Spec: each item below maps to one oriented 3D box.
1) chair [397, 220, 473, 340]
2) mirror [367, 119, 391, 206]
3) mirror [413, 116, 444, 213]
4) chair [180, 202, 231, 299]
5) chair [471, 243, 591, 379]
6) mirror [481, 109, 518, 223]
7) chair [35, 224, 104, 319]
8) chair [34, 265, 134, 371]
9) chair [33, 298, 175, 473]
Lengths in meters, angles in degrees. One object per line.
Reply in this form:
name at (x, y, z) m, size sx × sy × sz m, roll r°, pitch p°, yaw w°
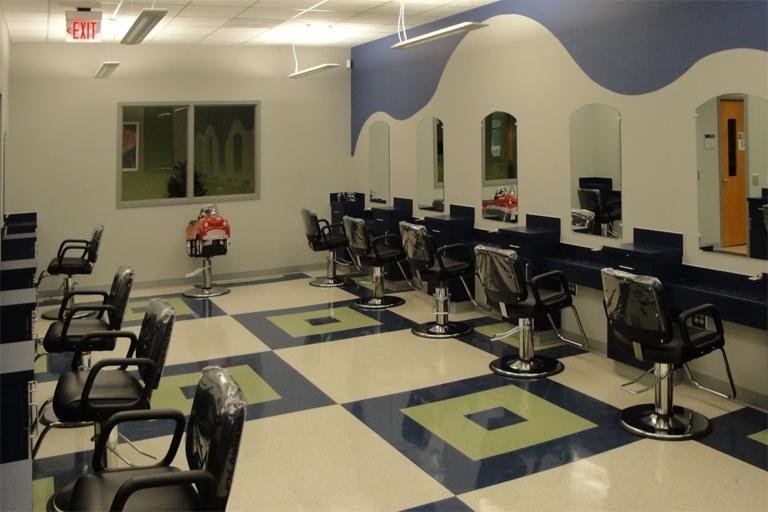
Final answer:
chair at (0.649, 0.276, 6.911) m, size 0.864 × 1.330 × 0.685 m, roll -1°, pitch 14°, yaw 2°
mirror at (-0.067, -1.585, 9.561) m, size 0.201 × 1.346 × 0.821 m, roll -7°, pitch 15°, yaw -21°
mirror at (0.699, -1.364, 8.423) m, size 0.218 × 1.356 × 0.727 m, roll -8°, pitch 16°, yaw -25°
chair at (-2.805, -0.072, 8.931) m, size 0.717 × 1.298 × 0.949 m, roll -7°, pitch 15°, yaw -20°
chair at (1.446, 0.519, 6.515) m, size 1.492 × 1.675 × 1.113 m, roll -3°, pitch 5°, yaw -28°
mirror at (1.507, -1.146, 7.315) m, size 0.206 × 1.365 × 0.727 m, roll -9°, pitch 16°, yaw -27°
chair at (-4.207, 0.211, 7.504) m, size 0.836 × 1.150 × 0.704 m, roll 2°, pitch 4°, yaw -31°
chair at (-2.616, 0.563, 4.896) m, size 0.833 × 0.926 × 0.705 m, roll 8°, pitch 5°, yaw -8°
chair at (-2.045, 0.851, 4.106) m, size 0.829 × 1.015 × 0.741 m, roll 8°, pitch 5°, yaw -24°
